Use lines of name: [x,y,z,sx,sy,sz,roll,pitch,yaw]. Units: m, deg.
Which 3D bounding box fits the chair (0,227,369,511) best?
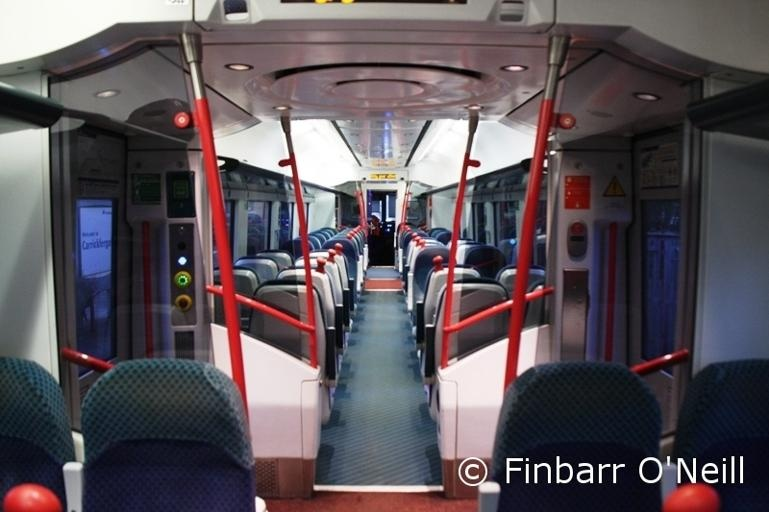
chair: [-1.198,0.682,3.326,2.002,1.330,1.983,0,3,-1]
